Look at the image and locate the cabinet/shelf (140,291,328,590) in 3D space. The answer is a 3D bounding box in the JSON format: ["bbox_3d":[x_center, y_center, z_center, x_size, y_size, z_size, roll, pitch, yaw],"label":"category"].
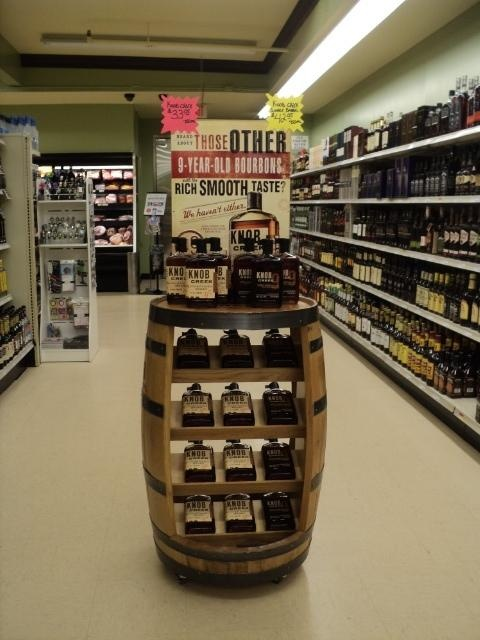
[{"bbox_3d":[-0.015,0.380,1.666,0.672,1.010,0.635,-2,16,1],"label":"cabinet/shelf"}]
